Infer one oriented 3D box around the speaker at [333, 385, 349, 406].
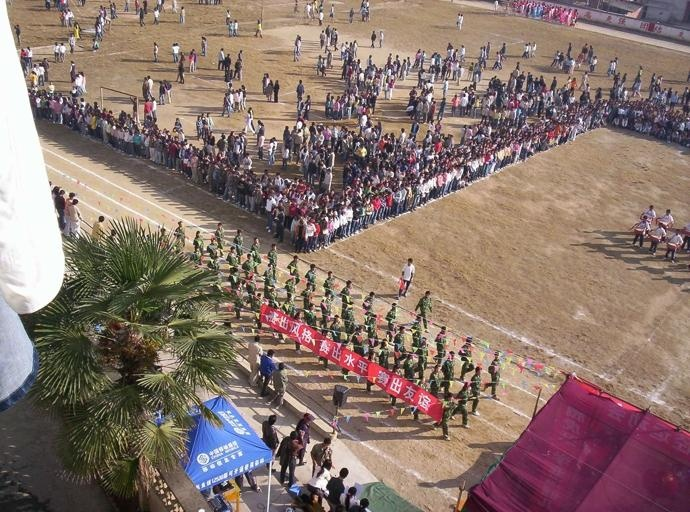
[{"bbox_3d":[-0.128,3.905,17.192,0.335,0.848,0.473,2,27,-5],"label":"speaker"}]
